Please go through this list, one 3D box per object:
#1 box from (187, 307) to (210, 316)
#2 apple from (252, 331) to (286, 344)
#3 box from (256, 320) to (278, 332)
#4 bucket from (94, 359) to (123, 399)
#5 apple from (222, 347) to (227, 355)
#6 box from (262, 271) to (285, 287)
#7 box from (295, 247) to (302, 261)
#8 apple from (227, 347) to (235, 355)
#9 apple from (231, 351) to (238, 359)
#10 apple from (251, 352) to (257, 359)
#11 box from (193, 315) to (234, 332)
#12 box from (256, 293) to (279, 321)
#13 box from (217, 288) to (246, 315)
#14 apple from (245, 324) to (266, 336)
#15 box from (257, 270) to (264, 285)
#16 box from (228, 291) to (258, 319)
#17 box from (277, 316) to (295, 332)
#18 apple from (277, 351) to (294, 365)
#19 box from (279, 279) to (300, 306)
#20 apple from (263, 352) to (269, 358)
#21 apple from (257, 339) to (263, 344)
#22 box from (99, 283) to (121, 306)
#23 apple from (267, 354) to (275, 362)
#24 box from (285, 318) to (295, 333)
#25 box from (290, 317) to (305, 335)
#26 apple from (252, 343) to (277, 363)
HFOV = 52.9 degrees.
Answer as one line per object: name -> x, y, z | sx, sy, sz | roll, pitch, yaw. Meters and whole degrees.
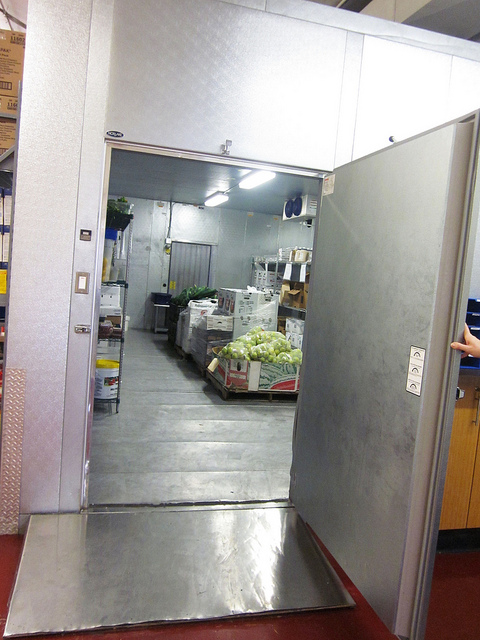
box -> -0.691, -0.138, 7.707 | 0.397, 0.123, 0.204 | 7, 4, 14
apple -> 0.337, 0.184, 6.006 | 0.248, 0.121, 0.194 | -1, 5, -26
box -> 0.394, 0.076, 7.108 | 0.261, 0.193, 0.146 | -1, 8, -12
bucket -> -1.324, 0.586, 4.805 | 0.219, 0.402, 0.261 | 4, 4, -13
apple -> -0.175, 0.355, 5.589 | 0.040, 0.064, 0.116 | 5, 4, -6
box -> 0.641, -0.821, 9.660 | 0.410, 0.297, 0.224 | 6, 4, 7
box -> 0.986, -1.105, 8.206 | 0.108, 0.243, 0.243 | 6, 4, 7
apple -> -0.100, 0.354, 5.531 | 0.097, 0.078, 0.054 | 8, 5, 36
apple -> -0.062, 0.402, 5.511 | 0.069, 0.097, 0.068 | 5, 4, -5
apple -> 0.172, 0.412, 5.585 | 0.062, 0.086, 0.117 | 7, 4, 21
box -> -0.327, 0.046, 6.697 | 0.451, 0.210, 0.281 | 6, 4, 5
box -> 0.414, -0.192, 7.119 | 0.332, 0.465, 0.460 | 1, 3, 9
box -> -0.157, -0.300, 7.420 | 0.270, 0.534, 0.359 | 3, -5, -15
apple -> 0.213, 0.131, 6.190 | 0.180, 0.078, 0.145 | -19, 2, -19
box -> 0.421, -0.870, 9.947 | 0.150, 0.280, 0.272 | -1, 11, -8
box -> 0.057, -0.181, 6.986 | 0.426, 0.436, 0.347 | 0, 1, -25
box -> 0.796, 0.067, 8.699 | 0.229, 0.246, 0.321 | 4, 5, 32
apple -> 0.531, 0.455, 5.746 | 0.216, 0.126, 0.097 | 3, 4, -28
box -> 0.854, -0.492, 8.655 | 0.241, 0.453, 0.546 | 4, 4, -13
apple -> 0.303, 0.400, 5.600 | 0.039, 0.055, 0.043 | -2, -2, 9
apple -> 0.242, 0.264, 5.876 | 0.063, 0.053, 0.043 | 5, 4, -1
box -> -1.231, -0.240, 4.537 | 0.213, 0.222, 0.161 | 2, -6, -18
apple -> 0.362, 0.445, 5.638 | 0.059, 0.074, 0.061 | 1, 31, 21
box -> 0.789, 0.082, 7.916 | 0.168, 0.240, 0.234 | 0, 5, -8
box -> 0.916, 0.104, 7.538 | 0.152, 0.142, 0.464 | 5, 4, -5
apple -> 0.306, 0.397, 5.626 | 0.195, 0.213, 0.237 | 29, -9, 33
